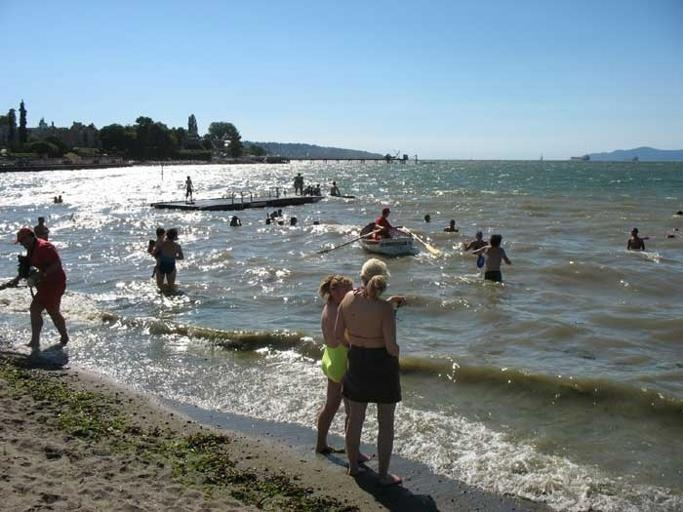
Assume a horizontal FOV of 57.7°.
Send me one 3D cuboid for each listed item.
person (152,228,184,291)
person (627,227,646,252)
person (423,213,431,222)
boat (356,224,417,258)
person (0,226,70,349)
[{"bbox_3d":[-3.854,0.067,13.654,0.613,1.450,1.149,-2,14,-16],"label":"person"},{"bbox_3d":[9.561,-0.505,19.954,0.505,0.692,0.811,8,15,24],"label":"person"},{"bbox_3d":[3.945,-1.669,28.337,0.340,0.307,0.876,-2,5,9],"label":"person"},{"bbox_3d":[1.658,-0.480,20.625,1.683,0.801,1.813,-2,13,-14],"label":"boat"},{"bbox_3d":[-4.690,0.534,9.688,0.651,2.012,0.714,-5,16,-25],"label":"person"}]
